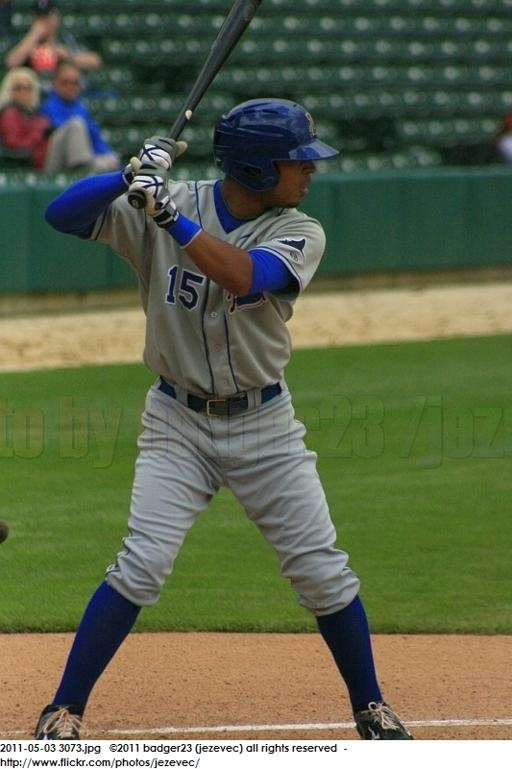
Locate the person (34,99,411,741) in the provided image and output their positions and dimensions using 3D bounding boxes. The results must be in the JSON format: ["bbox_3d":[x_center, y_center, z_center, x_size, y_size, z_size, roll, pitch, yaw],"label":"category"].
[{"bbox_3d":[-0.081,0.072,2.834,0.886,1.547,0.524,2,10,-9],"label":"person"}]

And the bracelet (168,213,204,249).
[{"bbox_3d":[-0.161,-0.352,2.647,0.078,0.075,0.030,3,10,-3],"label":"bracelet"}]

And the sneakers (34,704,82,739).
[{"bbox_3d":[-0.464,0.797,2.723,0.065,0.073,0.116,15,-25,-25],"label":"sneakers"}]

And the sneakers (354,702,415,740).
[{"bbox_3d":[0.320,0.831,2.811,0.066,0.084,0.112,-8,42,-15],"label":"sneakers"}]

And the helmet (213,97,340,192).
[{"bbox_3d":[0.073,-0.595,2.853,0.320,0.195,0.211,4,15,12],"label":"helmet"}]
